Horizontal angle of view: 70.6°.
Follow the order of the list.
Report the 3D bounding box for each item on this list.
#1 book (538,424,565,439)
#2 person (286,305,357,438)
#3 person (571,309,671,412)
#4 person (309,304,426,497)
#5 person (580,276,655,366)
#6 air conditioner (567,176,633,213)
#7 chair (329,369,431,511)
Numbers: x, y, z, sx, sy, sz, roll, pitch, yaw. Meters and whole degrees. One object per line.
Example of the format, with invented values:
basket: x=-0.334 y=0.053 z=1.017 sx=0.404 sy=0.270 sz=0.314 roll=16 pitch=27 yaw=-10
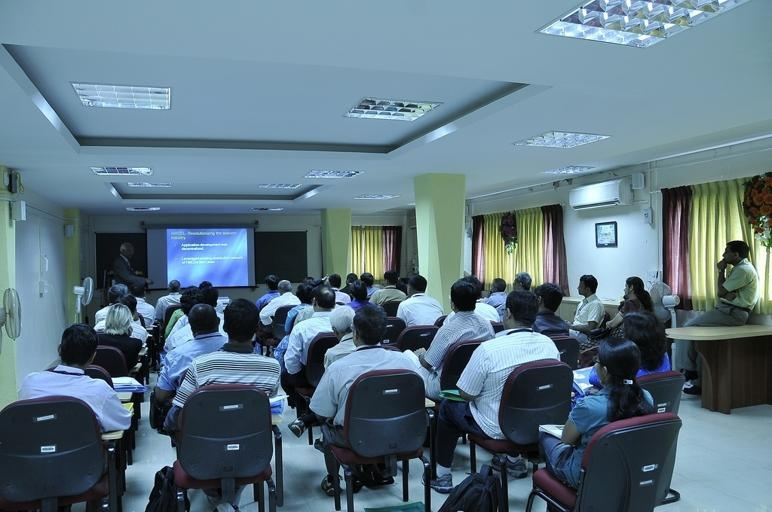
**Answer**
book: x=1.197 y=1.235 z=3.900 sx=0.135 sy=0.033 sz=0.137 roll=2 pitch=0 yaw=0
person: x=-0.500 y=1.183 z=4.751 sx=0.557 sy=0.935 sz=0.602 roll=13 pitch=-17 yaw=-20
person: x=1.768 y=0.778 z=4.449 sx=0.815 sy=1.004 sz=0.710 roll=-4 pitch=1 yaw=18
person: x=-0.158 y=1.209 z=4.592 sx=0.985 sy=1.574 sz=0.884 roll=0 pitch=3 yaw=-10
person: x=2.920 y=0.826 z=6.786 sx=0.684 sy=1.092 sz=0.841 roll=4 pitch=-5 yaw=-27
air conditioner: x=3.686 y=-1.051 z=9.353 sx=0.268 sy=0.514 sz=1.106 roll=-1 pitch=0 yaw=-29
chair: x=-0.048 y=1.450 z=4.291 sx=0.827 sy=1.103 sz=0.400 roll=-1 pitch=0 yaw=-7
